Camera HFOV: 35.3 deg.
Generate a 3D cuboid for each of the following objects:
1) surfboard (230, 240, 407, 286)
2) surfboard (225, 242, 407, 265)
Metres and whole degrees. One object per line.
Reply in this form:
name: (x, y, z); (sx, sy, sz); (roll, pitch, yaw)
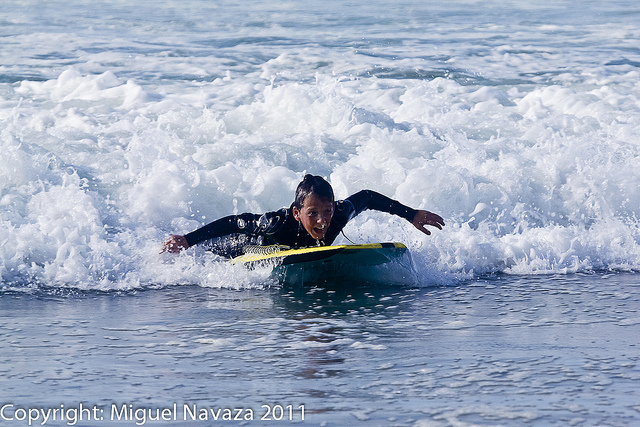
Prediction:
surfboard: (0.039, 0.771, 16.449); (2.444, 0.239, 0.903); (-4, 7, -1)
surfboard: (-0.177, 0.659, 16.402); (3.042, 0.760, 0.201); (-2, 88, 17)
